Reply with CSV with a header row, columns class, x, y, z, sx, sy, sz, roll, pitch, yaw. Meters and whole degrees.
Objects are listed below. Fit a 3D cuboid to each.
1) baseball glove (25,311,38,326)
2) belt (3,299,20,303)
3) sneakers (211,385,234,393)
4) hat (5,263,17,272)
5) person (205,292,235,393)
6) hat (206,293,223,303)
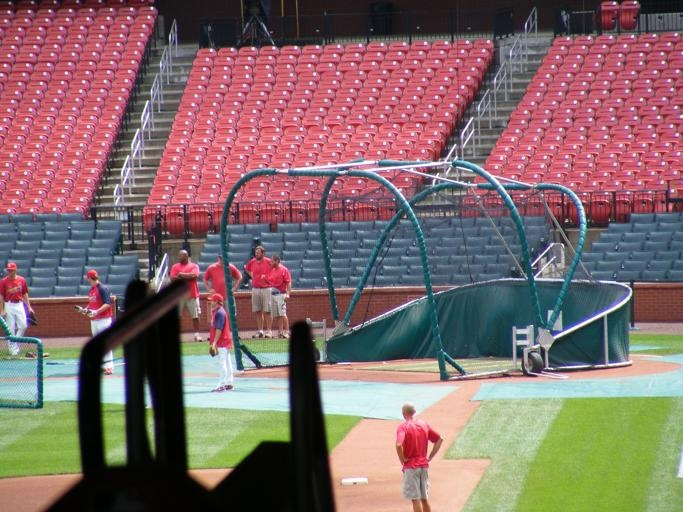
class,x,y,z,sx,sy,sz,roll,pitch,yaw
baseball glove,-9.834,1.928,54.549,0.386,0.457,0.446,1,12,1
belt,-10.224,1.345,53.845,0.529,0.123,0.097,-3,5,-20
sneakers,-3.507,3.804,50.302,0.606,0.258,0.218,2,-3,-9
hat,-10.268,0.326,53.739,0.396,0.309,0.559,1,-2,-2
person,-3.552,2.460,50.143,0.632,2.826,0.844,-2,5,-4
hat,-3.711,1.198,49.908,0.341,0.173,0.256,7,9,12
